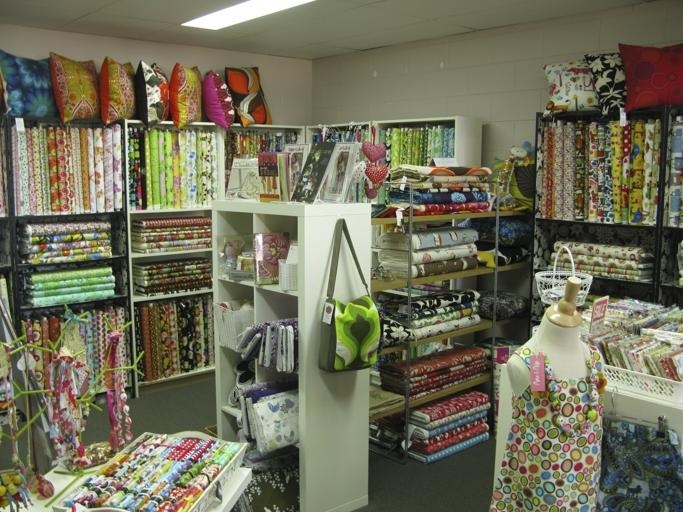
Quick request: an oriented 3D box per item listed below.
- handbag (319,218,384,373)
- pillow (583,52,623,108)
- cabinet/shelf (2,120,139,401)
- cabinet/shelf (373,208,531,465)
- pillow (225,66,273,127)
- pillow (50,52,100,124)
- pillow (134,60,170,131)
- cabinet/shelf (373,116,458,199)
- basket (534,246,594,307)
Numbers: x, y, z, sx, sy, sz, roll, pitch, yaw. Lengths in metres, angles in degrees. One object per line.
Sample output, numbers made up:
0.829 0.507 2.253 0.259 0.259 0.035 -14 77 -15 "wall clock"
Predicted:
0.035 0.222 3.122 0.338 0.839 0.258 -9 11 -32 "handbag"
1.943 -1.267 4.067 0.283 0.447 0.150 2 11 30 "pillow"
-2.377 0.040 4.934 0.863 2.445 1.023 1 10 22 "cabinet/shelf"
0.777 0.595 4.059 1.676 1.600 0.512 -8 11 -39 "cabinet/shelf"
-0.995 -1.686 5.849 0.250 0.683 0.608 -5 22 30 "pillow"
-2.317 -1.454 4.830 0.170 0.562 0.568 -5 6 23 "pillow"
-1.764 -1.535 5.227 0.323 0.564 0.268 -8 11 -28 "pillow"
0.647 -0.827 4.609 0.297 0.926 0.915 -2 3 -44 "cabinet/shelf"
1.397 0.115 3.408 0.331 0.395 0.333 -5 -4 -8 "basket"
